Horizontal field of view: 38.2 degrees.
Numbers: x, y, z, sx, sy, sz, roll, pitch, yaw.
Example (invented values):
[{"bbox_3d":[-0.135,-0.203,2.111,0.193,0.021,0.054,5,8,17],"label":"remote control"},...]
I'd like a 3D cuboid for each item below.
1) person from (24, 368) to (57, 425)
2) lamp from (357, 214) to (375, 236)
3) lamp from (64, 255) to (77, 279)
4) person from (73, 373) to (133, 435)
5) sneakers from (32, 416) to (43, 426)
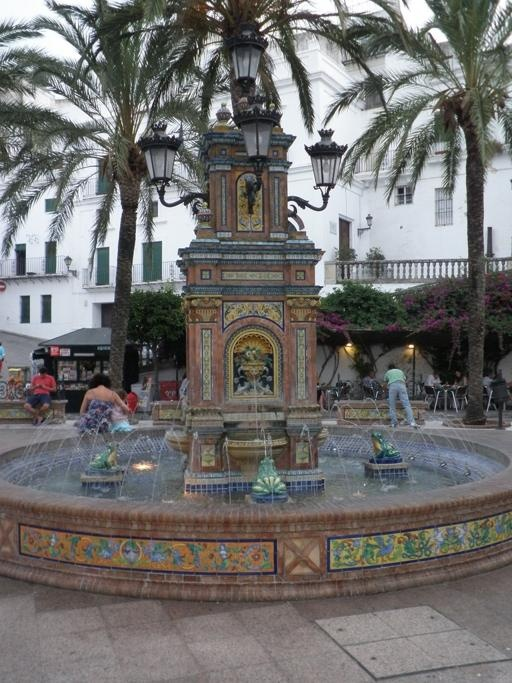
[{"bbox_3d":[-4.710,1.145,16.143,0.608,1.064,0.958,-1,1,-18],"label":"person"},{"bbox_3d":[4.288,-4.576,29.145,0.610,0.742,0.678,0,1,8],"label":"lamp"},{"bbox_3d":[-8.498,-3.413,33.501,0.586,0.774,1.073,-1,1,0],"label":"lamp"},{"bbox_3d":[-2.016,0.845,9.740,0.568,0.855,0.472,7,-18,-28],"label":"person"},{"bbox_3d":[-4.684,1.699,15.851,0.122,0.212,0.191,2,-7,-3],"label":"sneakers"}]
